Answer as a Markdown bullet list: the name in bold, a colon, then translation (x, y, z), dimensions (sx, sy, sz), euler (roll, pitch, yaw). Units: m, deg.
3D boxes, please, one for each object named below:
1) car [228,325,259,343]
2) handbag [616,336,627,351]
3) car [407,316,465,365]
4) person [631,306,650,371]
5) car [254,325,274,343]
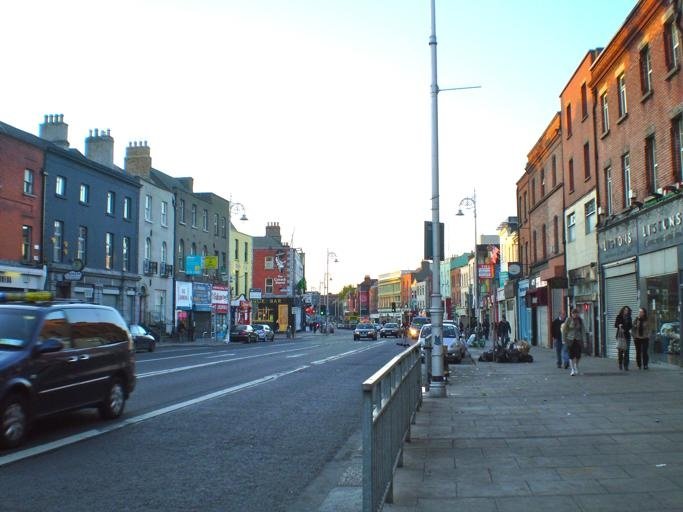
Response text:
- **car**: translation (-7.405, 6.030, 56.450), dimensions (1.226, 1.237, 3.480), euler (0, -2, 8)
- **handbag**: translation (8.885, 2.793, 23.494), dimensions (0.295, 0.408, 0.242), euler (-6, -10, 26)
- **car**: translation (4.230, 3.261, 29.765), dimensions (1.562, 1.320, 3.625), euler (-2, -11, 9)
- **person**: translation (9.375, 2.602, 23.123), dimensions (0.490, 1.904, 1.372), euler (-4, -10, 23)
- **car**: translation (-6.512, 6.490, 61.754), dimensions (0.869, 0.854, 2.119), euler (0, -2, 13)
